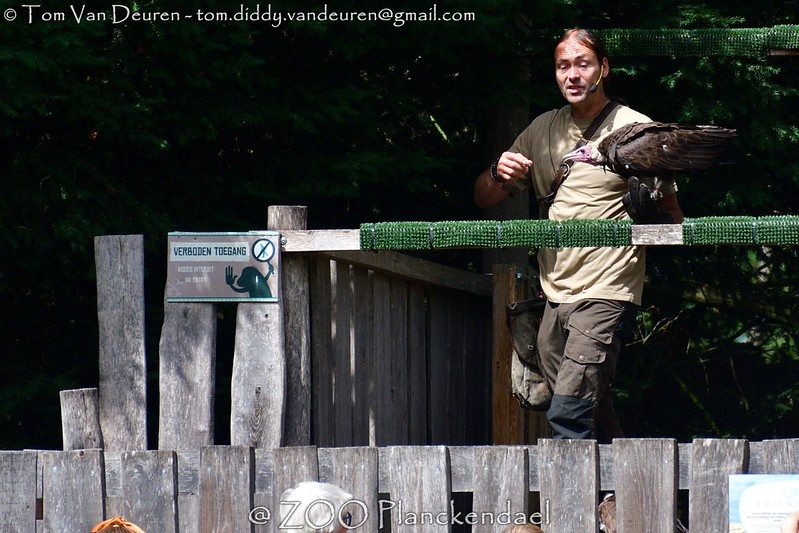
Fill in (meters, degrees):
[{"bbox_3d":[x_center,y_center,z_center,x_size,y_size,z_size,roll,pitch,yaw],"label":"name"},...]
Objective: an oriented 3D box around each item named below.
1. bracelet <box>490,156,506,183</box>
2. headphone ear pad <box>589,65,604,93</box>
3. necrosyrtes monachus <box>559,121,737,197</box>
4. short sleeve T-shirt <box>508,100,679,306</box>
[{"bbox_3d":[0.681,-0.684,15.133,0.051,0.146,0.119,10,-25,-36],"label":"bracelet"},{"bbox_3d":[1.351,-1.299,14.964,0.039,0.173,0.117,20,-11,-19],"label":"headphone ear pad"},{"bbox_3d":[1.694,-0.724,14.653,1.262,0.549,0.420,-12,4,-7],"label":"necrosyrtes monachus"},{"bbox_3d":[1.301,-0.485,14.814,1.329,1.658,0.773,1,0,40],"label":"short sleeve T-shirt"}]
